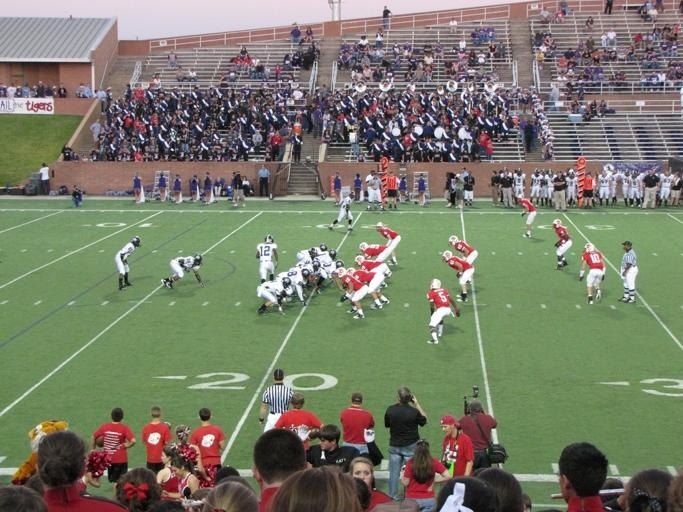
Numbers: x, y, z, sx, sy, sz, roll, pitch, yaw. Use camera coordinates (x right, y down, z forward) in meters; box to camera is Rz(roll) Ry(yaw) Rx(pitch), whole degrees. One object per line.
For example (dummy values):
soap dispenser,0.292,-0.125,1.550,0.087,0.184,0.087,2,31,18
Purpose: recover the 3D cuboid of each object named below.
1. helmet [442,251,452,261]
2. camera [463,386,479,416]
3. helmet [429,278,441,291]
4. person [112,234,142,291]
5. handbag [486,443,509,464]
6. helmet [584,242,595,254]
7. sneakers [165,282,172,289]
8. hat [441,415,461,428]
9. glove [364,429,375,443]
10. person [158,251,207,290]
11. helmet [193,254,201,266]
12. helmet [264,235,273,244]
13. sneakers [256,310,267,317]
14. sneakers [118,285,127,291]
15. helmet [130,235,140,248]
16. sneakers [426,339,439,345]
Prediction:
helmet,3.399,-0.013,29.025,0.379,0.348,0.286,10,-12,9
camera,2.741,3.076,19.117,0.458,0.261,1.135,0,-20,5
helmet,2.612,0.791,25.727,0.313,0.380,0.426,0,-14,23
person,-7.281,0.159,30.911,0.785,1.651,1.528,-4,15,-12
handbag,3.033,3.853,17.754,0.495,0.444,0.376,-6,25,0
helmet,8.318,-0.259,30.335,0.211,0.245,0.271,-8,-31,12
sneakers,-5.786,0.970,30.302,0.235,0.287,0.683,-2,2,-15
hat,2.069,3.200,17.301,0.271,0.216,0.425,-22,-10,25
glove,0.570,3.474,17.594,0.204,0.270,0.128,3,8,38
person,-5.255,0.503,30.474,1.348,1.447,0.753,16,9,0
helmet,-4.773,0.112,30.079,0.264,0.326,0.319,18,-15,-10
helmet,-2.433,-0.563,30.468,0.282,0.303,0.345,1,-1,-2
sneakers,-2.445,1.759,27.934,0.159,0.191,0.458,-1,-5,-21
sneakers,-7.384,1.047,30.564,0.189,0.109,0.353,3,15,13
helmet,-7.239,-0.495,31.723,0.337,0.361,0.383,22,16,27
sneakers,2.563,2.380,25.334,0.316,0.209,0.122,10,36,17
